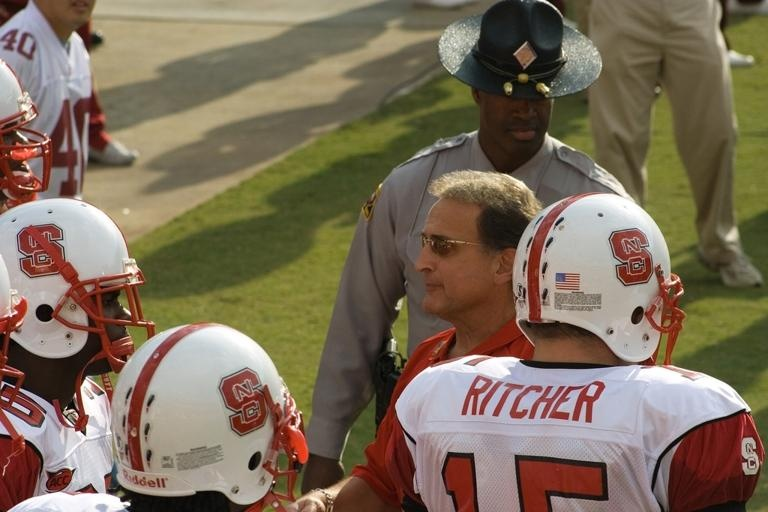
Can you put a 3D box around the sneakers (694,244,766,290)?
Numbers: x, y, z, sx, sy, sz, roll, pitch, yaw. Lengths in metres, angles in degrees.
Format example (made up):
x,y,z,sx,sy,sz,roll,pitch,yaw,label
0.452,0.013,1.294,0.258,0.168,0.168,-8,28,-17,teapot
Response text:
x,y,z,sx,sy,sz,roll,pitch,yaw,label
2.094,0.045,8.202,0.418,0.185,0.174,27,42,27,sneakers
